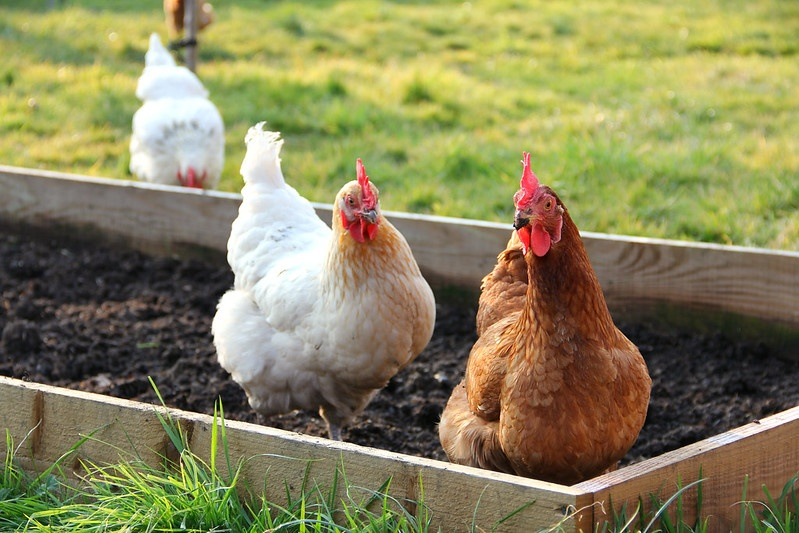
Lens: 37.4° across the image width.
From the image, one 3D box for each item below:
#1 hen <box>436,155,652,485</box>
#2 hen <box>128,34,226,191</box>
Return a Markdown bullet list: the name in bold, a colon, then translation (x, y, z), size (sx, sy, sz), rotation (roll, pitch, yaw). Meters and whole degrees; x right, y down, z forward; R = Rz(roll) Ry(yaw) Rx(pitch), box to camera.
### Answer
- **hen**: translation (0.890, 0.320, 6.907), size (1.197, 1.809, 0.819), rotation (15, 25, 27)
- **hen**: translation (-1.845, -1.112, 9.706), size (0.606, 1.419, 0.920), rotation (-4, -2, -17)
